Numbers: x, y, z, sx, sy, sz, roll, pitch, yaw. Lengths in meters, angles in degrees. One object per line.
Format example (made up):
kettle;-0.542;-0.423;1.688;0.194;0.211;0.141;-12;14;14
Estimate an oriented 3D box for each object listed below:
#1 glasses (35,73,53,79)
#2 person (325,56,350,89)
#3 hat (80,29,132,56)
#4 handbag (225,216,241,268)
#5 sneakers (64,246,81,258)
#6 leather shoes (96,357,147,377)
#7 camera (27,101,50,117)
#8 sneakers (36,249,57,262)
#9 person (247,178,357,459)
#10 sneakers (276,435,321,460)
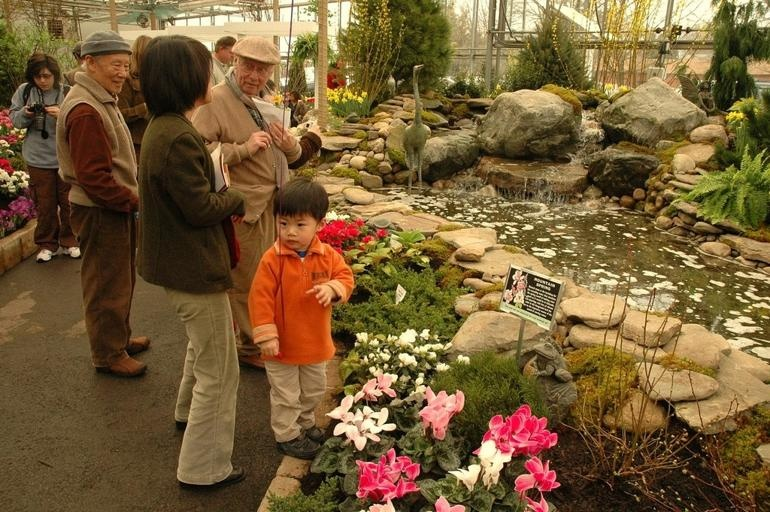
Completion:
glasses;-4.455;-2.349;6.621;0.106;0.055;0.126;-6;-17;-12
person;-1.524;-5.649;15.700;0.500;0.854;1.814;-4;21;-10
hat;-2.468;-1.849;4.444;0.297;0.134;0.277;6;21;10
handbag;-1.134;-0.111;3.815;0.100;0.302;0.218;0;7;-14
sneakers;-4.341;-0.060;7.041;0.261;0.120;0.122;1;-20;10
leather shoes;-2.486;1.031;4.803;0.388;0.170;0.203;-1;8;-5
camera;-4.525;-1.912;6.583;0.249;0.162;0.186;-1;6;-23
sneakers;-4.671;-0.014;6.965;0.114;0.129;0.314;2;8;-18
person;-0.639;0.477;3.821;0.572;1.997;0.737;17;27;40
sneakers;-0.648;1.457;3.876;0.313;0.152;0.146;5;36;8
